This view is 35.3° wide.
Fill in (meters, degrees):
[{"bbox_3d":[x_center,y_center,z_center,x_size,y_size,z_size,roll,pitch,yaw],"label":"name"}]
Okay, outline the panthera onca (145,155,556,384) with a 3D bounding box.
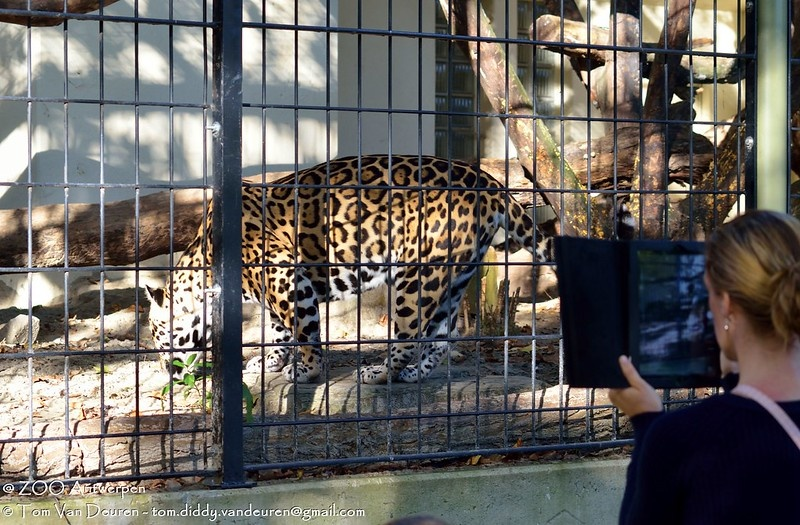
[{"bbox_3d":[-0.333,0.097,10.438,3.650,1.853,0.921,2,8,13],"label":"panthera onca"}]
